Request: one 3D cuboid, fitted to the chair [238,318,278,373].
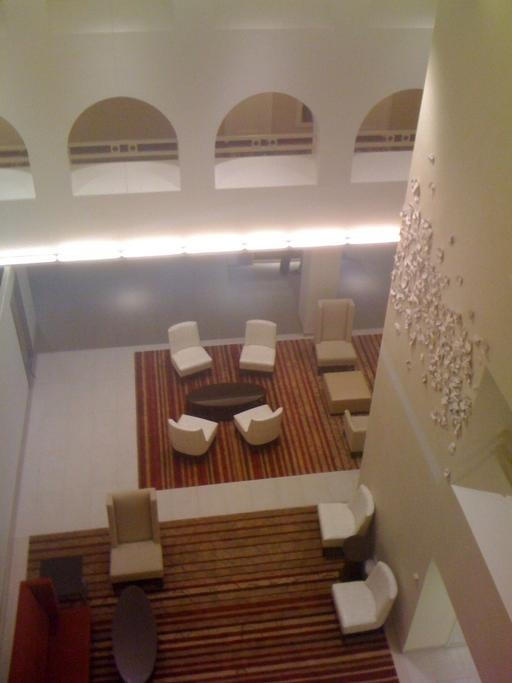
[{"bbox_3d":[0.060,0.158,8.852,0.649,1.103,0.903,5,44,2],"label":"chair"}]

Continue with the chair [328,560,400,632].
[{"bbox_3d":[1.150,2.554,5.014,0.634,0.784,0.720,0,41,-8],"label":"chair"}]

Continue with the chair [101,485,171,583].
[{"bbox_3d":[-1.393,2.365,5.472,0.628,1.160,0.741,7,27,9],"label":"chair"}]

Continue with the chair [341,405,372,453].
[{"bbox_3d":[1.526,1.405,7.409,0.429,0.590,0.554,-1,44,0],"label":"chair"}]

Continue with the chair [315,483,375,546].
[{"bbox_3d":[1.088,2.088,5.768,0.579,0.683,0.663,1,42,-6],"label":"chair"}]
